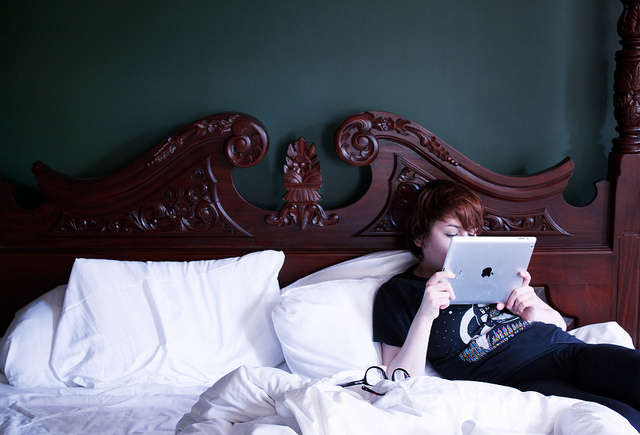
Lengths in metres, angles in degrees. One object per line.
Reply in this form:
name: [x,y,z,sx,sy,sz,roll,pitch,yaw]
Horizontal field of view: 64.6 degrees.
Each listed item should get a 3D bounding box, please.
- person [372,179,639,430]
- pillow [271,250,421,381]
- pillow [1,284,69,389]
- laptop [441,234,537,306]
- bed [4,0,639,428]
person: [0.610,0.296,2.167,0.712,0.737,1.109,-6,-2,-37]
pillow: [0.060,0.419,2.149,0.763,0.486,0.206,-12,-3,-30]
pillow: [-1.211,0.511,2.127,0.259,0.462,0.286,-6,0,-22]
laptop: [0.646,0.188,2.024,0.374,0.273,0.263,1,17,-7]
bed: [-0.143,-0.065,2.665,2.109,1.634,2.115,0,-20,0]
